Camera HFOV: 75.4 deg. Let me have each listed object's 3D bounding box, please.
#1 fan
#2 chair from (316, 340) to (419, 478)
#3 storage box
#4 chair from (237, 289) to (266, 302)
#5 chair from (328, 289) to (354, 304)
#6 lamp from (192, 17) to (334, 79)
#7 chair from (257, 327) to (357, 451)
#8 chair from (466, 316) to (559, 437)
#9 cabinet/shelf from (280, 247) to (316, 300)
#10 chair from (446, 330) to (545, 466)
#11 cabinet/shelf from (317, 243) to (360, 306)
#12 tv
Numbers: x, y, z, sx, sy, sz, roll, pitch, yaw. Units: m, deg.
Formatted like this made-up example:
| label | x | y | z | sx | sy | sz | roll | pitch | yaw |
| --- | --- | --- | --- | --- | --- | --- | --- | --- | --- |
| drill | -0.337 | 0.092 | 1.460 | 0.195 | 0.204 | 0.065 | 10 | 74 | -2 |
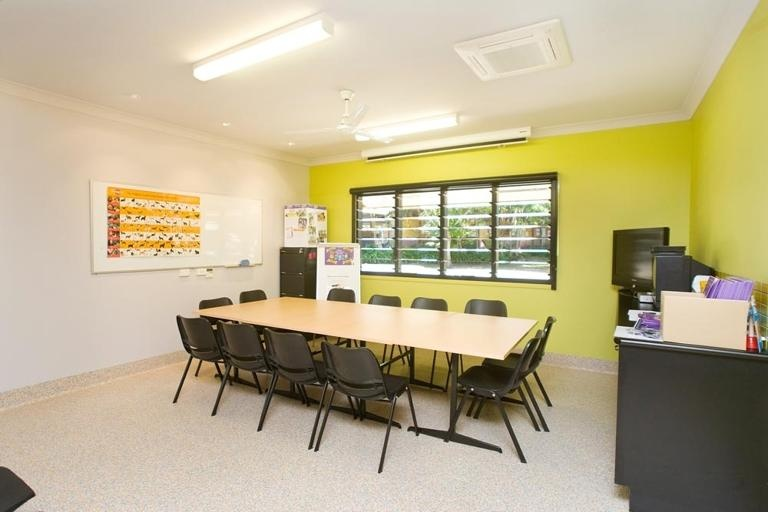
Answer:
| label | x | y | z | sx | sy | sz | roll | pitch | yaw |
| --- | --- | --- | --- | --- | --- | --- | --- | --- | --- |
| fan | -0.538 | -1.629 | 6.079 | 0.706 | 0.466 | 1.730 | 0 | 3 | -11 |
| chair | -0.223 | 1.403 | 5.038 | 0.933 | 1.150 | 0.869 | 3 | 4 | 32 |
| storage box | 2.676 | 0.528 | 4.320 | 0.615 | 0.351 | 0.598 | 4 | 3 | -2 |
| chair | -1.843 | 0.562 | 6.902 | 0.230 | 0.284 | 0.214 | -1 | -1 | -37 |
| chair | -0.607 | 0.595 | 7.078 | 0.245 | 0.302 | 0.233 | 1 | -7 | 2 |
| lamp | -1.088 | -1.745 | 4.719 | 1.640 | 0.149 | 0.270 | -8 | -14 | 36 |
| chair | -0.909 | 1.247 | 5.164 | 0.948 | 1.374 | 1.101 | 2 | 2 | 23 |
| chair | 1.127 | 1.299 | 5.124 | 1.061 | 1.244 | 0.866 | 1 | 6 | 35 |
| cabinet/shelf | -1.432 | 0.328 | 8.322 | 0.564 | 0.853 | 0.570 | 6 | 10 | 32 |
| chair | 1.250 | 1.331 | 5.223 | 0.889 | 1.190 | 1.100 | 2 | 4 | 25 |
| cabinet/shelf | -0.672 | 0.261 | 8.159 | 0.806 | 1.010 | 0.631 | 1 | 7 | 1 |
| tv | 3.021 | 0.046 | 5.915 | 0.105 | 0.738 | 0.774 | 0 | 3 | -17 |
